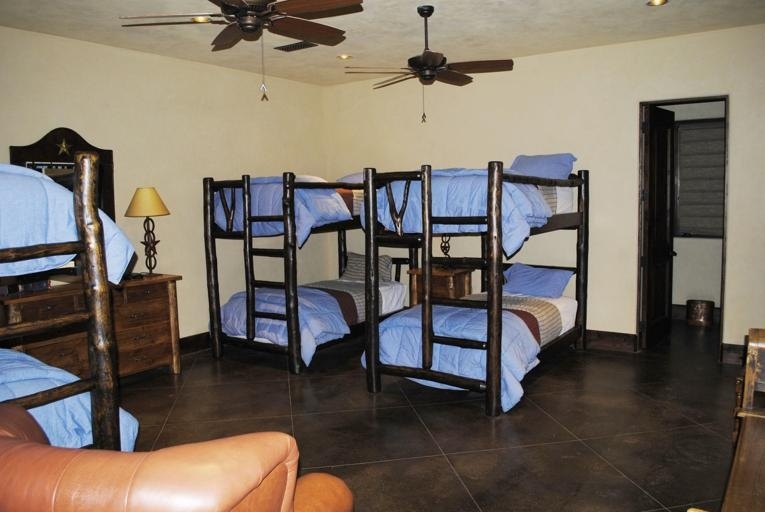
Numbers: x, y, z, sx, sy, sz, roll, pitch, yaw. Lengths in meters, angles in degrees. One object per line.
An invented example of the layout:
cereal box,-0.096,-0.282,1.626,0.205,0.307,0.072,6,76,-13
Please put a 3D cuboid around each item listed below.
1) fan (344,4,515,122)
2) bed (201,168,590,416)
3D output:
fan,0.582,-1.639,5.826,1.022,0.624,1.009,0,0,25
bed,0.830,0.369,6.668,2.561,1.833,2.734,1,3,33
